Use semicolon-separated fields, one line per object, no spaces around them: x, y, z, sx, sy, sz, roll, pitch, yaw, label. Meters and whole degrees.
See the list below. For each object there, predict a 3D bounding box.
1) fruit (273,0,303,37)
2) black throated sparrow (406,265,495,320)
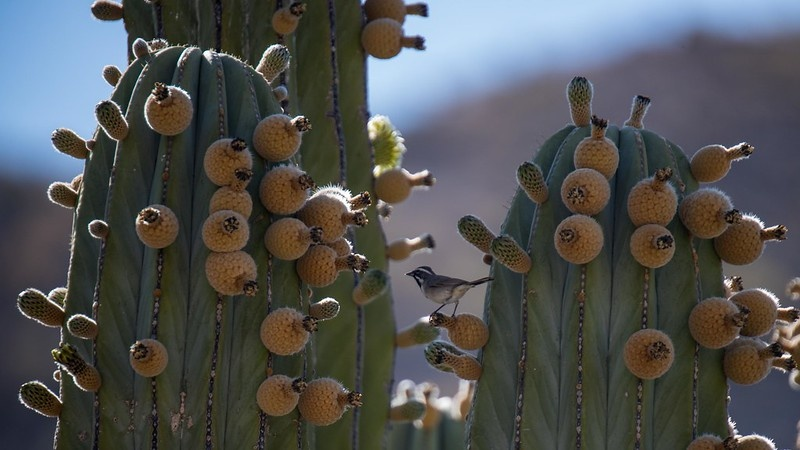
-0.894;-1.648;16.452;0.140;0.128;0.289;3;-11;-14;fruit
0.410;0.499;16.179;0.697;0.416;0.213;-7;-18;23;black throated sparrow
